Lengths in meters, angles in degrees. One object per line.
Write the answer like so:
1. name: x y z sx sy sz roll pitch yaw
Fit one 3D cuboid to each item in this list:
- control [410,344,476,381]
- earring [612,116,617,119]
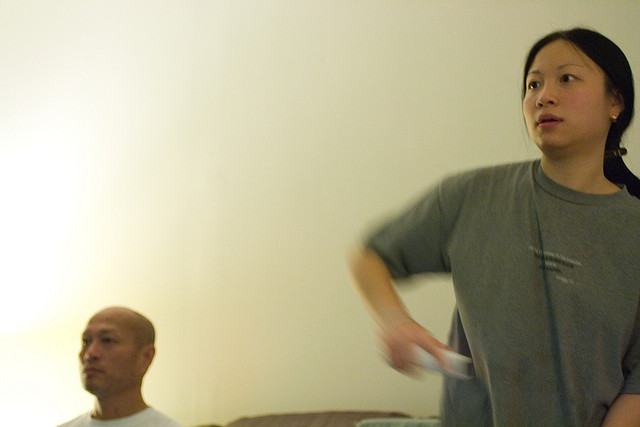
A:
1. control: 0.386 0.463 1.922 0.271 0.091 0.062 19 -27 -34
2. earring: 0.976 -0.321 2.058 0.011 0.011 0.002 2 -2 -15
